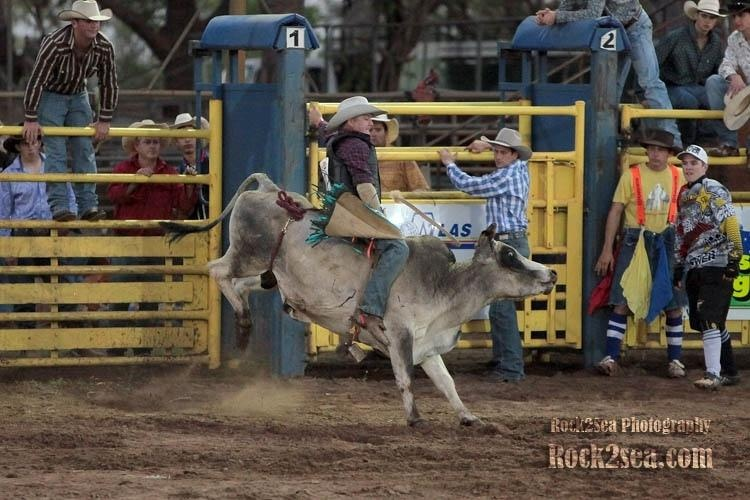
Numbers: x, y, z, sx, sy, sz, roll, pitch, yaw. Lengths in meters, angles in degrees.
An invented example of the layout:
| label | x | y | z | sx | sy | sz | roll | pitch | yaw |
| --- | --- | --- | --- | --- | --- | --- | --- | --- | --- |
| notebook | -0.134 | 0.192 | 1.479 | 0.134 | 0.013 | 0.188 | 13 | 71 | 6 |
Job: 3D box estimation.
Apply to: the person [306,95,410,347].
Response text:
| label | x | y | z | sx | sy | sz | roll | pitch | yaw |
| --- | --- | --- | --- | --- | --- | --- | --- | --- | --- |
| person | -0.285 | -0.366 | 20.511 | 1.349 | 3.009 | 0.680 | 3 | 3 | 43 |

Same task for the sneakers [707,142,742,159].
| label | x | y | z | sx | sy | sz | roll | pitch | yaw |
| --- | --- | --- | --- | --- | --- | --- | --- | --- | --- |
| sneakers | 4.668 | -1.329 | 22.730 | 0.357 | 0.124 | 0.173 | 3 | 0 | -20 |

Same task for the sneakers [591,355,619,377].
| label | x | y | z | sx | sy | sz | roll | pitch | yaw |
| --- | --- | --- | --- | --- | --- | --- | --- | --- | --- |
| sneakers | 3.027 | 1.533 | 22.436 | 0.292 | 0.212 | 0.130 | -27 | -25 | 9 |

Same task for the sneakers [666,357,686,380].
| label | x | y | z | sx | sy | sz | roll | pitch | yaw |
| --- | --- | --- | --- | --- | --- | --- | --- | --- | --- |
| sneakers | 3.977 | 1.570 | 22.562 | 0.233 | 0.234 | 0.534 | 0 | -7 | 7 |

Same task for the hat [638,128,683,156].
| label | x | y | z | sx | sy | sz | roll | pitch | yaw |
| --- | --- | --- | --- | --- | --- | --- | --- | --- | --- |
| hat | 3.809 | -1.476 | 22.712 | 0.549 | 0.364 | 1.284 | 1 | 3 | 9 |

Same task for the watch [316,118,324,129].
| label | x | y | z | sx | sy | sz | roll | pitch | yaw |
| --- | --- | --- | --- | --- | --- | --- | --- | --- | --- |
| watch | -0.707 | -1.606 | 21.420 | 0.113 | 0.081 | 0.110 | 1 | -4 | -1 |

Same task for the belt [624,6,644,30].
| label | x | y | z | sx | sy | sz | roll | pitch | yaw |
| --- | --- | --- | --- | --- | --- | --- | --- | --- | --- |
| belt | 3.557 | -3.194 | 23.366 | 0.110 | 0.295 | 0.254 | 27 | -2 | -36 |

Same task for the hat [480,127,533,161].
| label | x | y | z | sx | sy | sz | roll | pitch | yaw |
| --- | --- | --- | --- | --- | --- | --- | --- | --- | --- |
| hat | 1.702 | -1.386 | 21.964 | 0.574 | 0.422 | 0.779 | 1 | 3 | 19 |

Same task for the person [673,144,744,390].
| label | x | y | z | sx | sy | sz | roll | pitch | yaw |
| --- | --- | --- | --- | --- | --- | --- | --- | --- | --- |
| person | 4.294 | 0.202 | 22.011 | 0.848 | 3.125 | 0.593 | 1 | 2 | 11 |

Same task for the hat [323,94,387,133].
| label | x | y | z | sx | sy | sz | roll | pitch | yaw |
| --- | --- | --- | --- | --- | --- | --- | --- | --- | --- |
| hat | -0.284 | -1.637 | 20.411 | 0.522 | 0.202 | 0.415 | -25 | -1 | 17 |

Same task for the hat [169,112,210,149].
| label | x | y | z | sx | sy | sz | roll | pitch | yaw |
| --- | --- | --- | --- | --- | --- | --- | --- | --- | --- |
| hat | -2.583 | -1.729 | 23.494 | 0.526 | 0.207 | 0.577 | -2 | -12 | -12 |

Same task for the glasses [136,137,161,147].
| label | x | y | z | sx | sy | sz | roll | pitch | yaw |
| --- | --- | --- | --- | --- | --- | --- | --- | --- | --- |
| glasses | -3.032 | -1.457 | 22.632 | 0.283 | 0.105 | 0.196 | 0 | 3 | -16 |

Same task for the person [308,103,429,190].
| label | x | y | z | sx | sy | sz | roll | pitch | yaw |
| --- | --- | --- | --- | --- | --- | --- | --- | --- | --- |
| person | -0.048 | -1.286 | 22.792 | 0.480 | 1.089 | 1.573 | -10 | 16 | -32 |

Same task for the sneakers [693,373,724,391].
| label | x | y | z | sx | sy | sz | roll | pitch | yaw |
| --- | --- | --- | --- | --- | --- | --- | --- | --- | --- |
| sneakers | 4.310 | 1.698 | 21.968 | 0.376 | 0.167 | 0.163 | 5 | -6 | -26 |

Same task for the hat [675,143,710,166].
| label | x | y | z | sx | sy | sz | roll | pitch | yaw |
| --- | --- | --- | --- | --- | --- | --- | --- | --- | --- |
| hat | 4.080 | -1.238 | 21.936 | 0.357 | 0.246 | 0.280 | 1 | 3 | 10 |
